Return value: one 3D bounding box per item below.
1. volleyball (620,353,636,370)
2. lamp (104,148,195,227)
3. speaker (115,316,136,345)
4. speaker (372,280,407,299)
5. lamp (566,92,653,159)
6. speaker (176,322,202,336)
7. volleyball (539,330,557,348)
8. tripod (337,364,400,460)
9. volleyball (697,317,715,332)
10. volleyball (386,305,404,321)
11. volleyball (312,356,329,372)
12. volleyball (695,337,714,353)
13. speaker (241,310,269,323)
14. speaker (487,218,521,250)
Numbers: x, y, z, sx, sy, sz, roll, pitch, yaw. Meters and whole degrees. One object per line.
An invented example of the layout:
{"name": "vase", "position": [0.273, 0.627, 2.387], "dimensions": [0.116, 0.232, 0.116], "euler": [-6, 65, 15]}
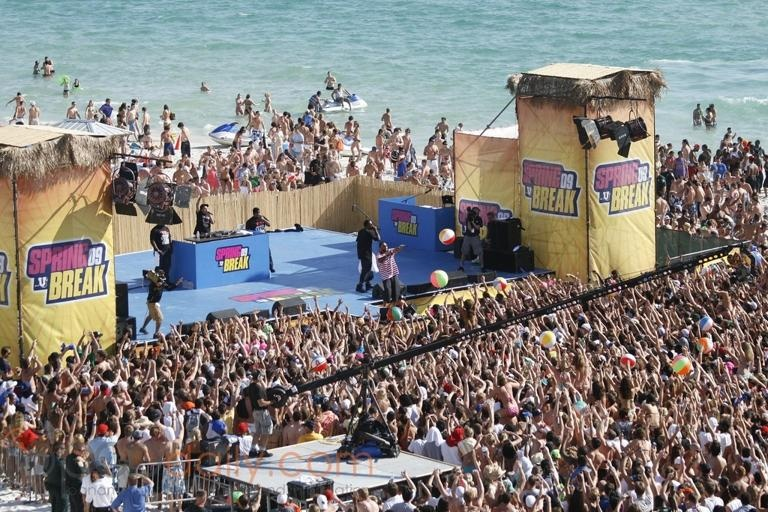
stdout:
{"name": "volleyball", "position": [5.175, 2.178, 28.124], "dimensions": [0.306, 0.306, 0.294], "euler": [-2, 6, 1]}
{"name": "lamp", "position": [-5.761, -1.591, 32.622], "dimensions": [2.306, 1.660, 1.882], "euler": [3, 0, -42]}
{"name": "speaker", "position": [-6.236, 1.766, 32.225], "dimensions": [0.343, 0.639, 0.666], "euler": [0, 1, 38]}
{"name": "speaker", "position": [0.131, 0.931, 35.452], "dimensions": [0.479, 0.433, 0.794], "euler": [24, 24, 40]}
{"name": "lamp", "position": [6.698, -3.570, 37.321], "dimensions": [1.763, 0.861, 1.415], "euler": [-8, 7, 35]}
{"name": "speaker", "position": [-4.580, 1.693, 31.569], "dimensions": [0.208, 0.271, 0.398], "euler": [1, 0, 25]}
{"name": "volleyball", "position": [3.653, 1.777, 29.336], "dimensions": [0.312, 0.330, 0.364], "euler": [14, 41, -3]}
{"name": "tripod", "position": [-0.080, 2.920, 25.475], "dimensions": [1.594, 1.975, 1.540], "euler": [0, 6, -3]}
{"name": "volleyball", "position": [7.251, 1.494, 29.906], "dimensions": [0.295, 0.359, 0.310], "euler": [24, -12, 34]}
{"name": "volleyball", "position": [0.290, 1.336, 31.546], "dimensions": [0.341, 0.341, 0.341], "euler": [4, -38, -13]}
{"name": "volleyball", "position": [-1.296, 2.204, 27.623], "dimensions": [0.275, 0.321, 0.296], "euler": [4, 8, 3]}
{"name": "volleyball", "position": [6.926, 1.898, 28.628], "dimensions": [0.342, 0.411, 0.342], "euler": [-5, 13, 2]}
{"name": "speaker", "position": [-3.173, 1.455, 33.293], "dimensions": [0.403, 0.132, 0.436], "euler": [5, 8, 39]}
{"name": "speaker", "position": [3.598, -0.692, 38.405], "dimensions": [0.814, 1.063, 1.068], "euler": [-12, 16, -38]}
